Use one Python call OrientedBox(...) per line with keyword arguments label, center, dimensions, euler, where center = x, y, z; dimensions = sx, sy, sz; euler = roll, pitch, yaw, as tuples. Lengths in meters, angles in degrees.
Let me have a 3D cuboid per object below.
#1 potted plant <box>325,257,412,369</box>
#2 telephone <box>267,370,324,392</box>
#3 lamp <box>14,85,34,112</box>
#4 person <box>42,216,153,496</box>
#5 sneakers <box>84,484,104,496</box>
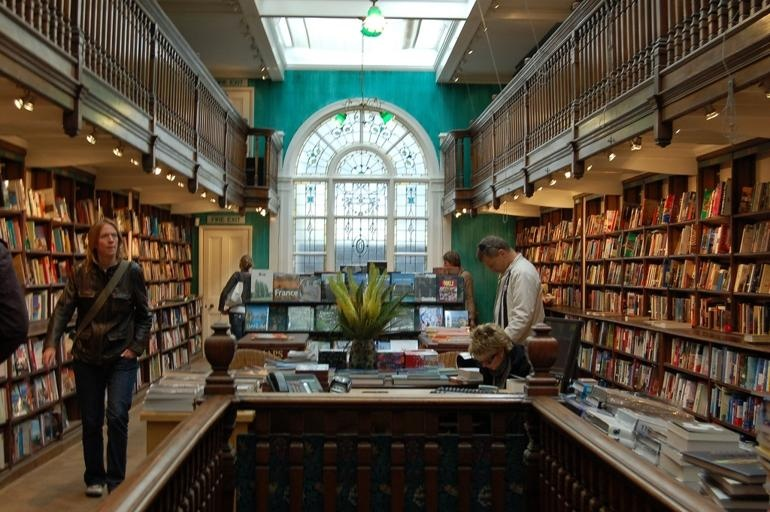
OrientedBox(label="potted plant", center=(-0.165, 0.494, 4.461), dimensions=(0.558, 0.842, 0.515), euler=(-1, -1, -2))
OrientedBox(label="telephone", center=(-0.616, 0.838, 3.664), dimensions=(0.213, 0.082, 0.213), euler=(4, 1, -6))
OrientedBox(label="lamp", center=(-2.790, -1.215, 4.236), dimensions=(0.099, 0.156, 0.075), euler=(19, -54, -33))
OrientedBox(label="person", center=(-2.250, 0.825, 4.336), dimensions=(0.737, 2.202, 0.567), euler=(-1, -1, -15))
OrientedBox(label="sneakers", center=(-2.448, 1.952, 4.629), dimensions=(0.089, 0.101, 0.236), euler=(3, -16, -13))
